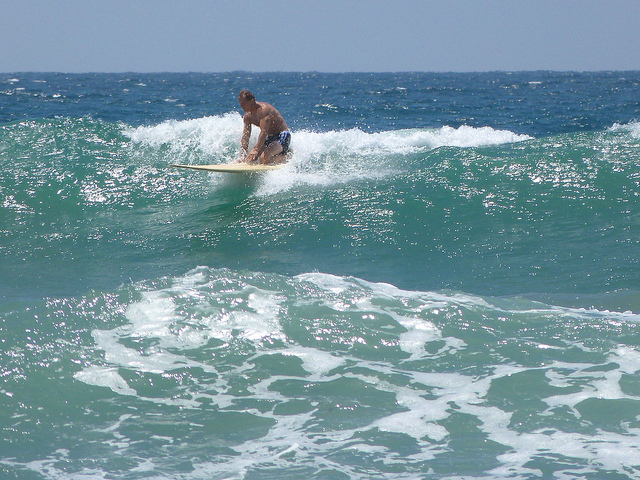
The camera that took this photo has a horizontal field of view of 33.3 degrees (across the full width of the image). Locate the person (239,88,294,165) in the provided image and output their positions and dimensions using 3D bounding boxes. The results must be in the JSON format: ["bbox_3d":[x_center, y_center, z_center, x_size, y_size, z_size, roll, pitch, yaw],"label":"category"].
[{"bbox_3d":[-1.070,-1.967,19.405,0.727,1.344,1.448,-11,-25,20],"label":"person"}]

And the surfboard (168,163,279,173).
[{"bbox_3d":[-1.650,-1.284,18.947,1.787,0.187,0.121,0,-65,-31],"label":"surfboard"}]

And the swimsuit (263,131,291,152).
[{"bbox_3d":[-0.762,-1.873,19.677,0.630,0.418,0.373,6,18,-8],"label":"swimsuit"}]
